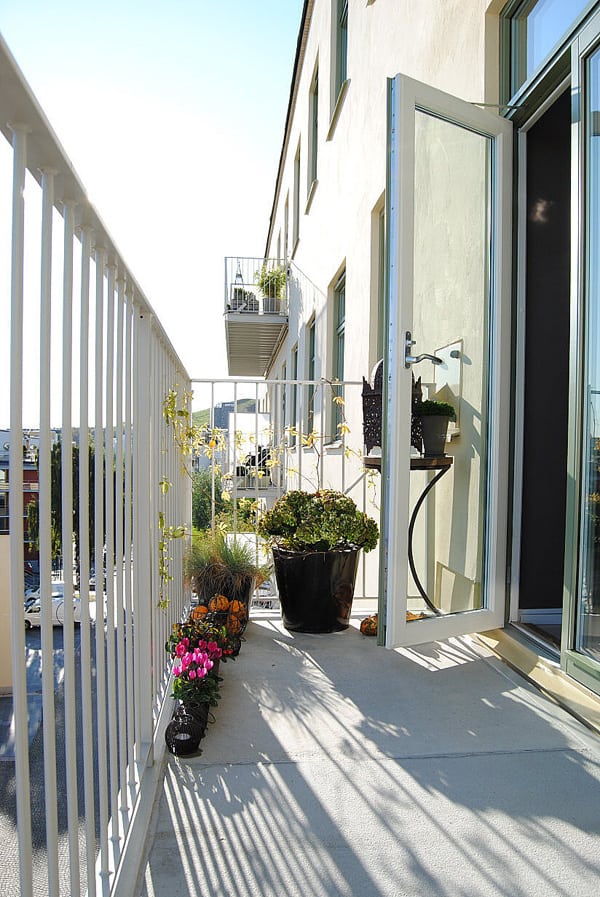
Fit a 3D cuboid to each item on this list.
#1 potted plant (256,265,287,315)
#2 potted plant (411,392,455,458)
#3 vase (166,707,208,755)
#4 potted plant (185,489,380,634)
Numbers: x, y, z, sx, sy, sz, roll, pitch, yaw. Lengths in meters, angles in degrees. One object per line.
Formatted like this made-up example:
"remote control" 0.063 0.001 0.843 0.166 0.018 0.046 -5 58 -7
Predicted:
"potted plant" -0.418 -2.372 10.373 0.492 0.963 0.580 0 -3 -6
"potted plant" 0.556 -0.083 2.774 0.123 0.250 0.162 3 -4 -12
"vase" -0.316 0.789 1.907 0.069 0.122 0.110 3 -15 7
"potted plant" -0.014 0.544 3.437 0.686 0.978 0.613 -1 -4 4
